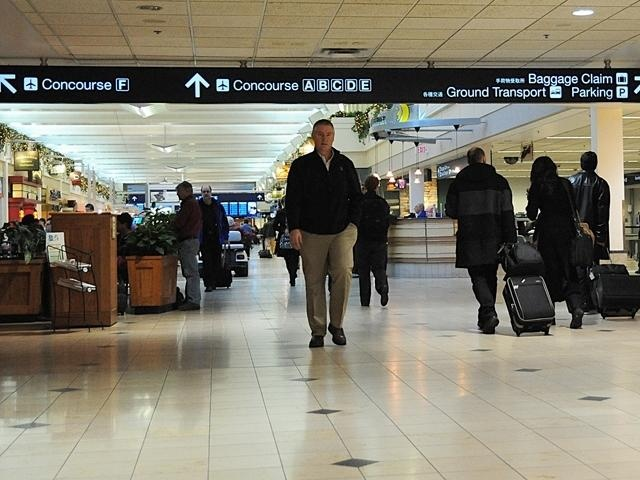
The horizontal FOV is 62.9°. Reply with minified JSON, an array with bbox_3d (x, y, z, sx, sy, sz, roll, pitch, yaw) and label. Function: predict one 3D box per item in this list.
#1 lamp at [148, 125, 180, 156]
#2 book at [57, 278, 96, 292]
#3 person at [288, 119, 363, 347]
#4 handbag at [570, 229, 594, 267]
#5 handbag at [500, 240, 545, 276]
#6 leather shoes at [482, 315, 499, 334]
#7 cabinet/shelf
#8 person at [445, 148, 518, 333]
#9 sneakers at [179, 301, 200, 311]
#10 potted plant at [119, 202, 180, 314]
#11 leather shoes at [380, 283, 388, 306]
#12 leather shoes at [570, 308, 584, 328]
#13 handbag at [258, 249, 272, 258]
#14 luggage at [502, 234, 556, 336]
[{"bbox_3d":[-7.178,-4.685,24.167,0.978,0.928,0.945,3,-4,-40],"label":"lamp"},{"bbox_3d":[-2.962,0.544,6.343,0.299,0.056,0.260,5,0,16],"label":"book"},{"bbox_3d":[0.051,-0.093,5.214,0.962,2.157,0.620,0,-5,-4],"label":"person"},{"bbox_3d":[3.049,0.096,6.126,0.219,0.331,0.236,-3,1,27],"label":"handbag"},{"bbox_3d":[2.296,0.212,6.036,0.465,0.406,0.501,2,-8,-21],"label":"handbag"},{"bbox_3d":[1.878,0.946,5.841,0.184,0.171,0.123,-2,1,36],"label":"leather shoes"},{"bbox_3d":[-3.075,0.612,6.638,0.686,0.849,0.535,-2,-1,16],"label":"cabinet/shelf"},{"bbox_3d":[1.849,-0.018,6.011,0.735,1.696,0.502,-3,1,21],"label":"person"},{"bbox_3d":[-2.072,1.046,8.320,0.313,0.142,0.341,-2,0,-14],"label":"sneakers"},{"bbox_3d":[-2.745,0.348,8.358,0.931,1.563,1.125,-3,1,-18],"label":"potted plant"},{"bbox_3d":[1.032,0.874,8.237,0.141,0.326,0.154,4,-13,-6],"label":"leather shoes"},{"bbox_3d":[3.052,0.912,6.157,0.142,0.237,0.184,4,14,2],"label":"leather shoes"},{"bbox_3d":[-2.669,0.669,25.357,0.618,0.326,0.418,0,6,-6],"label":"handbag"},{"bbox_3d":[2.295,0.533,5.819,0.681,0.950,0.388,0,-23,-18],"label":"luggage"}]
